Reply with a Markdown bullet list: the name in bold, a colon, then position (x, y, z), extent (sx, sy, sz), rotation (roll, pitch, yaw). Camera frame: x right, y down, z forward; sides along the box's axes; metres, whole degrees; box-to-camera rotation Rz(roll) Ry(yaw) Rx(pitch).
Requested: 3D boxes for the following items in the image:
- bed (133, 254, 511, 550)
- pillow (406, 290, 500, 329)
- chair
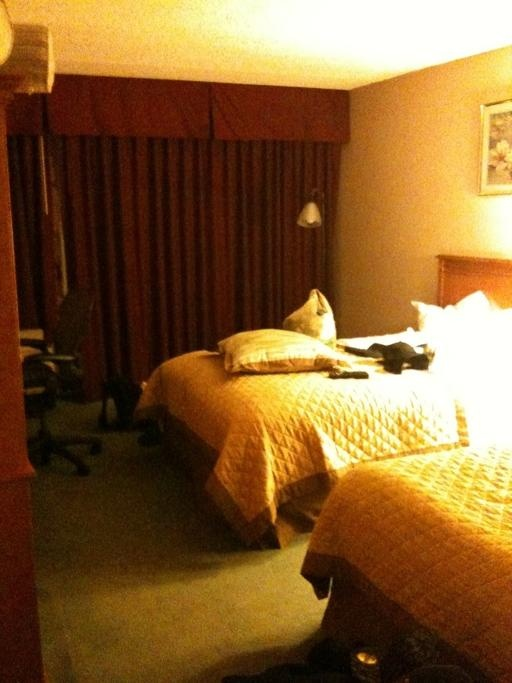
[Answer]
- **bed**: position (0.355, 0.139, 2.694), extent (1.634, 0.924, 1.270), rotation (-5, 11, -22)
- **pillow**: position (1.201, -0.159, 3.456), extent (0.339, 0.119, 0.249), rotation (-10, 43, -10)
- **chair**: position (-1.188, 0.199, 3.276), extent (0.541, 0.948, 0.541), rotation (-2, 3, -10)
